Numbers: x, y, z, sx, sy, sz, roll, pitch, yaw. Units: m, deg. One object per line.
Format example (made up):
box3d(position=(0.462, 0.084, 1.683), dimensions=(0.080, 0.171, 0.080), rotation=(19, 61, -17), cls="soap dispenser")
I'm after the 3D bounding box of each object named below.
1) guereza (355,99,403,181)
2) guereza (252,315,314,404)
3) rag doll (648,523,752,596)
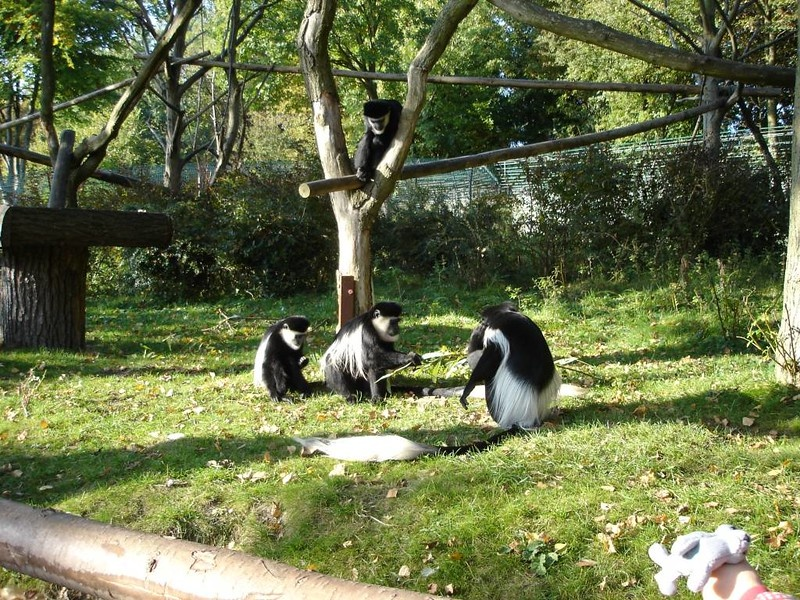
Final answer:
box3d(position=(-0.382, -2.403, 11.643), dimensions=(0.520, 0.894, 1.627), rotation=(17, 28, -3), cls="guereza")
box3d(position=(-1.386, 0.703, 9.755), dimensions=(0.604, 0.902, 0.341), rotation=(-5, 2, -10), cls="guereza")
box3d(position=(2.146, 1.848, 5.794), dimensions=(0.700, 0.311, 0.192), rotation=(-5, 2, -8), cls="rag doll")
